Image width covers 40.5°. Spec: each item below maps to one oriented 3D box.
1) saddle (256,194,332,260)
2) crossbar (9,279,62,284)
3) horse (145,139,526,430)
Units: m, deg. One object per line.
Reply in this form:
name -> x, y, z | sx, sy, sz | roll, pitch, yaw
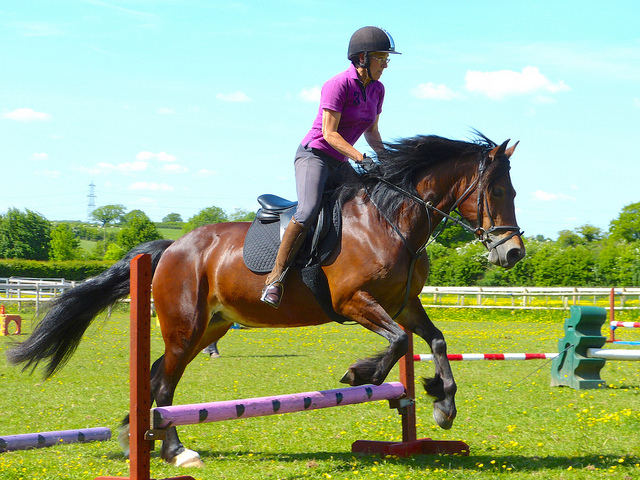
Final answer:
saddle -> -0.258, -0.197, 8.931 | 0.638, 0.734, 0.652 | -6, 5, -44
crossbar -> -9.898, 1.431, 29.863 | 0.788, 0.159, 0.749 | 2, 1, 40
horse -> -0.268, 0.507, 9.209 | 5.220, 2.739, 1.122 | -6, -10, 23
